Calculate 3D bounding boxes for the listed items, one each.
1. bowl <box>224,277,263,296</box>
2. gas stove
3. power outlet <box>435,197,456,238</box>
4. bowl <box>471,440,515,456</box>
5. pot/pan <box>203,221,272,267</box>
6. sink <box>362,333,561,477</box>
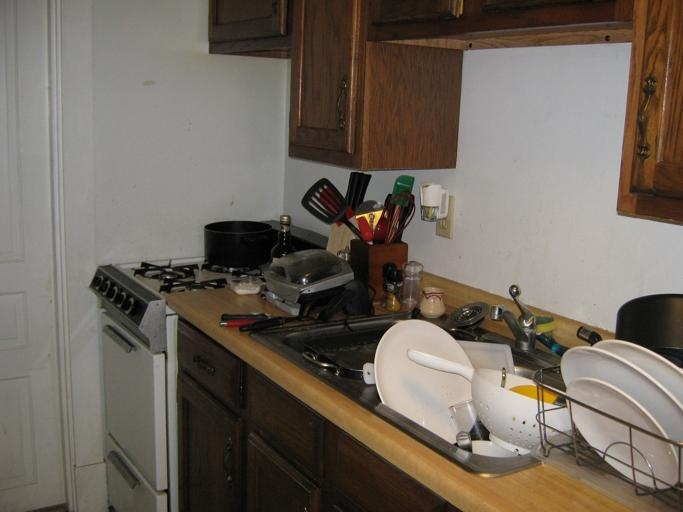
[{"bbox_3d":[-0.378,0.116,2.194,0.120,0.039,0.170,-5,12,-22],"label":"bowl"},{"bbox_3d":[-0.740,0.087,2.505,0.314,0.060,0.596,11,-5,-35],"label":"gas stove"},{"bbox_3d":[0.385,-0.145,2.034,0.019,0.193,0.110,-9,16,-34],"label":"power outlet"},{"bbox_3d":[0.348,0.450,1.280,0.054,0.025,0.054,4,7,0],"label":"bowl"},{"bbox_3d":[-0.454,-0.053,2.573,0.297,0.234,0.285,8,8,41],"label":"pot/pan"},{"bbox_3d":[0.341,0.339,1.388,0.435,0.241,0.464,-3,13,-26],"label":"sink"}]
